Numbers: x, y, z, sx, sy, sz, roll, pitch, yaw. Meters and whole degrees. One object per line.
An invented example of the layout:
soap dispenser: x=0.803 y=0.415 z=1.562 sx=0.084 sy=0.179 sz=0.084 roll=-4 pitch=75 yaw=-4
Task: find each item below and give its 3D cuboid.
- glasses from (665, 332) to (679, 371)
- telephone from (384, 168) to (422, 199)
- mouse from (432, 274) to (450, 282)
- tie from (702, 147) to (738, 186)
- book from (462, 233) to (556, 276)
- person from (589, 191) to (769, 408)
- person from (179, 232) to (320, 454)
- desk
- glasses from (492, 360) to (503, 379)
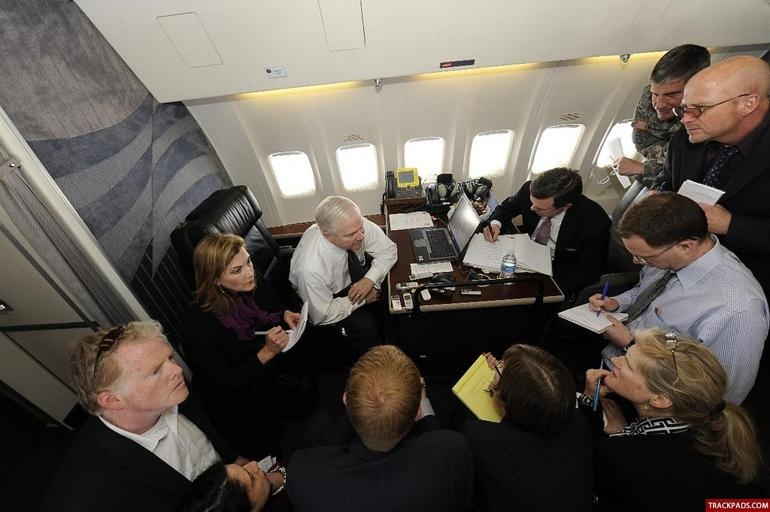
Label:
glasses: x=2.072 y=0.682 z=3.152 sx=0.119 sy=0.196 sz=0.080 roll=-1 pitch=-12 yaw=25
telephone: x=0.273 y=-0.935 z=5.893 sx=0.463 sy=0.416 sz=0.309 roll=-3 pitch=-2 yaw=7
mouse: x=0.602 y=0.220 z=4.483 sx=0.100 sy=0.030 sz=0.095 roll=-2 pitch=29 yaw=-3
tie: x=2.939 y=-0.777 z=3.849 sx=0.131 sy=0.450 sz=0.122 roll=6 pitch=15 yaw=-21
book: x=1.295 y=-0.022 z=4.644 sx=0.627 sy=0.121 sz=0.570 roll=3 pitch=36 yaw=4
person: x=2.456 y=0.393 z=3.541 sx=0.876 sy=1.851 sz=1.012 roll=1 pitch=52 yaw=27
person: x=-1.250 y=0.869 z=4.041 sx=0.902 sy=2.178 sz=0.878 roll=-2 pitch=44 yaw=1
desk: x=0.895 y=-0.129 z=4.788 sx=1.734 sy=0.774 sz=1.646 roll=-3 pitch=33 yaw=2
glasses: x=0.931 y=0.912 z=3.522 sx=0.052 sy=0.107 sz=0.109 roll=0 pitch=6 yaw=20
